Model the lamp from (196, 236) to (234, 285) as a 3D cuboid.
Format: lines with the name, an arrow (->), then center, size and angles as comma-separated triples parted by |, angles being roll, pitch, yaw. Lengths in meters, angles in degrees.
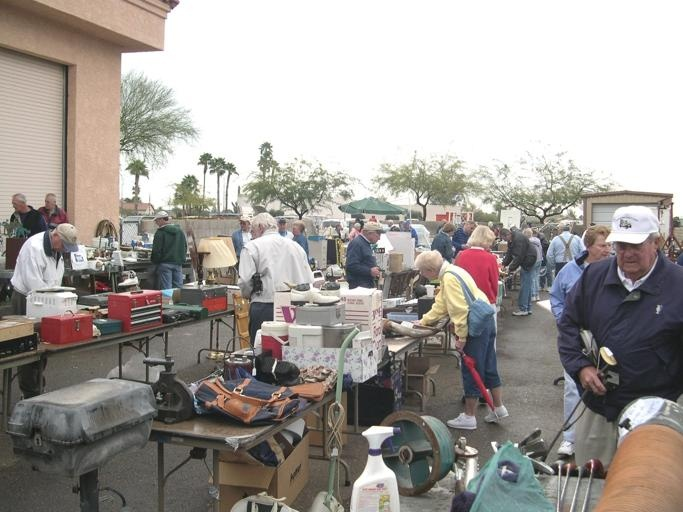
lamp -> -1.632, 0.118, 8.475 | 0.476, 0.553, 0.504 | -20, 1, 39

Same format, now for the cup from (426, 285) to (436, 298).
cup -> 1.239, 0.488, 8.805 | 0.125, 0.164, 0.145 | -2, -4, 33

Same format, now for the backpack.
backpack -> -0.655, 1.002, 4.423 | 0.750, 0.191, 0.508 | 2, 4, 13

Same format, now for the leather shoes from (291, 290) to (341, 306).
leather shoes -> -0.236, 0.340, 5.387 | 0.441, 0.145, 0.160 | 1, 1, 11

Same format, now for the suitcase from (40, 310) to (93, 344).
suitcase -> -2.534, 0.668, 5.877 | 0.245, 0.259, 0.411 | 3, 1, 18

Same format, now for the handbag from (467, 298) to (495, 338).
handbag -> 1.363, 0.615, 6.271 | 0.170, 0.247, 0.311 | 27, 39, 32

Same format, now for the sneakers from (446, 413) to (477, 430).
sneakers -> 1.270, 1.735, 6.671 | 0.334, 0.153, 0.136 | 2, 2, 19

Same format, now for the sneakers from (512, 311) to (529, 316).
sneakers -> 4.069, 1.303, 14.441 | 0.337, 0.145, 0.121 | 2, -2, 9

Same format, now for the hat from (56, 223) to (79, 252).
hat -> -2.871, -0.182, 6.656 | 0.206, 0.284, 0.305 | -1, 5, -25

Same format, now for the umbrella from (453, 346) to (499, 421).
umbrella -> 1.446, 1.391, 6.777 | 0.186, 0.886, 0.159 | -18, -15, -26

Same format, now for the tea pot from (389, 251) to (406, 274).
tea pot -> 1.120, 0.135, 12.528 | 0.329, 0.436, 0.453 | 0, -1, 12

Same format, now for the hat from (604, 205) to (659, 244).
hat -> 1.833, -0.216, 4.015 | 0.381, 0.190, 0.270 | -22, 19, -40

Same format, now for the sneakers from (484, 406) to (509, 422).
sneakers -> 1.665, 1.719, 6.899 | 0.131, 0.165, 0.384 | -7, -4, -31

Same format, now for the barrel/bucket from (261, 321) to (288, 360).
barrel/bucket -> -0.544, 0.698, 5.244 | 0.260, 0.280, 0.262 | 1, 2, 0
